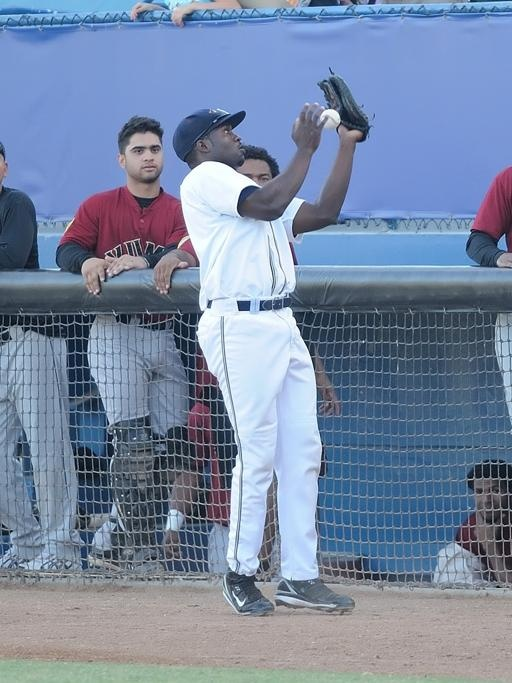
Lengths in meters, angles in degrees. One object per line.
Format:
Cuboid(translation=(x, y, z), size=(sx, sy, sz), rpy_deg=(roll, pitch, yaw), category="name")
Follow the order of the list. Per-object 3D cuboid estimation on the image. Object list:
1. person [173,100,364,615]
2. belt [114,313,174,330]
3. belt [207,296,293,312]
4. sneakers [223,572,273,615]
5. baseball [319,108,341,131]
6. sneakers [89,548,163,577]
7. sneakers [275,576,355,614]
Cuboid(translation=(0.020, 0.046, 4.415), size=(0.465, 1.626, 0.496), rpy_deg=(2, -2, -27), category="person")
Cuboid(translation=(-0.408, -0.077, 5.088), size=(0.103, 0.022, 0.100), rpy_deg=(10, -14, -33), category="belt")
Cuboid(translation=(-0.021, -0.118, 4.375), size=(0.249, 0.058, 0.099), rpy_deg=(1, -2, -4), category="belt")
Cuboid(translation=(-0.035, 0.785, 4.377), size=(0.100, 0.115, 0.258), rpy_deg=(-2, 12, -25), category="sneakers")
Cuboid(translation=(0.223, -0.690, 4.310), size=(0.066, 0.067, 0.061), rpy_deg=(12, -33, 8), category="baseball")
Cuboid(translation=(-0.479, 0.788, 4.960), size=(0.339, 0.096, 0.264), rpy_deg=(0, -3, 7), category="sneakers")
Cuboid(translation=(0.172, 0.796, 4.323), size=(0.255, 0.113, 0.097), rpy_deg=(3, -10, 10), category="sneakers")
